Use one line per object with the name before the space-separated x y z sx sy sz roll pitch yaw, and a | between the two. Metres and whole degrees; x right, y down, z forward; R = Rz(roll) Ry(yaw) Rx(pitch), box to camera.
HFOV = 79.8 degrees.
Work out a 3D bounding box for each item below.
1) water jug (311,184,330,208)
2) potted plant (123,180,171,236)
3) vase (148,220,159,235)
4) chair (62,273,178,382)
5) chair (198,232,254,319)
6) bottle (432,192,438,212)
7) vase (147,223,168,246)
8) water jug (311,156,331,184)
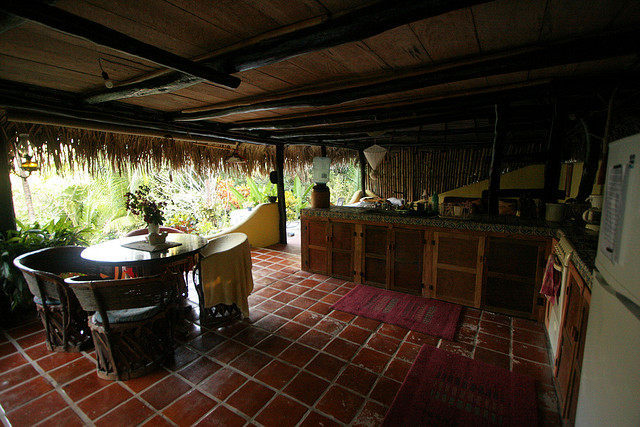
water jug | 0.015 -0.291 6.409 0.387 0.395 0.373 3 7 17
potted plant | -2.362 -0.022 5.233 0.453 0.704 0.819 -4 10 -21
vase | -2.190 0.166 5.008 0.121 0.186 0.161 -5 11 -25
chair | -2.235 1.240 4.404 1.016 1.064 1.022 -6 2 -3
chair | -1.304 0.879 5.165 0.716 0.936 0.715 1 -3 -10
bottle | 1.718 -0.165 5.678 0.077 0.263 0.230 3 10 16
vase | -2.143 0.281 5.121 0.209 0.286 0.326 -2 -5 43
water jug | 0.066 -0.768 6.949 0.407 0.547 0.369 -3 12 -16
